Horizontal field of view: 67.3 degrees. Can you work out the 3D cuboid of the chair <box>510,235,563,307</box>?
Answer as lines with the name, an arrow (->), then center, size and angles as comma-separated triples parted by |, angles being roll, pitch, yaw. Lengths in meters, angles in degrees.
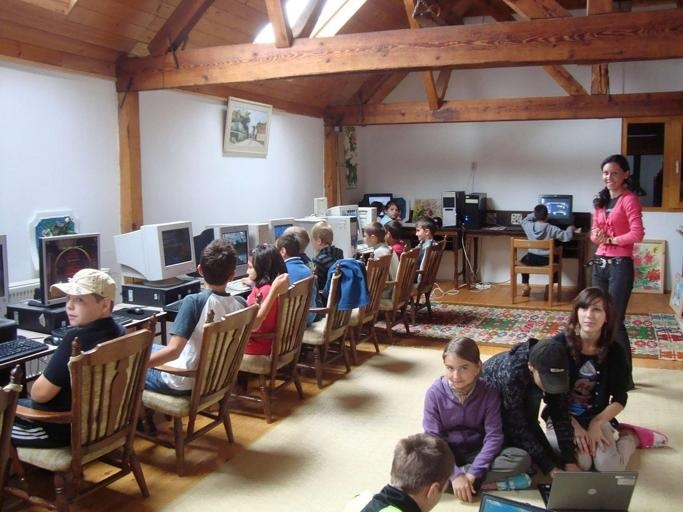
chair -> 2.675, 0.181, 7.055 | 0.685, 0.890, 0.639 | 1, 6, 21

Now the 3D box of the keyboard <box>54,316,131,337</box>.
keyboard -> -1.354, 0.378, 2.734 | 0.131, 0.043, 0.195 | 4, 9, 12

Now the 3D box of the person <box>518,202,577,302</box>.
person -> 2.746, 0.173, 7.108 | 0.654, 0.824, 0.624 | -3, 6, 11

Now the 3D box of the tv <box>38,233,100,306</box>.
tv -> -1.876, 0.081, 3.555 | 0.177, 0.457, 0.538 | 3, 7, 12

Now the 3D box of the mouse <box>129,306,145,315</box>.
mouse -> -1.478, 0.397, 3.718 | 0.094, 0.030, 0.054 | 9, 8, 37

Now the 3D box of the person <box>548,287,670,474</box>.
person -> 1.549, 0.712, 3.003 | 0.764, 1.003, 0.561 | 5, -5, 14

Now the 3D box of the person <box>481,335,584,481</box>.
person -> 1.033, 0.762, 2.834 | 0.376, 0.630, 0.717 | -7, 14, -28

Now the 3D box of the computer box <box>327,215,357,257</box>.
computer box -> -0.018, -0.192, 6.152 | 0.382, 0.511, 0.295 | 0, 6, 17

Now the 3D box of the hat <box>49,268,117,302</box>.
hat -> -1.311, 0.138, 2.612 | 0.276, 0.139, 0.187 | 3, -2, -38

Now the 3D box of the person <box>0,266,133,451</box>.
person -> -1.410, 0.544, 2.670 | 0.561, 0.865, 0.579 | -11, -11, 18

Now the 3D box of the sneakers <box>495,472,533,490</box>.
sneakers -> 0.929, 1.207, 2.787 | 0.135, 0.042, 0.106 | 0, -3, -22

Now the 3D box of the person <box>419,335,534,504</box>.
person -> 0.707, 0.857, 2.747 | 0.596, 0.734, 0.559 | -3, 1, 25

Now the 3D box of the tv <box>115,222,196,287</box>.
tv -> -1.542, -0.054, 4.284 | 0.525, 0.458, 0.530 | 2, 8, 23

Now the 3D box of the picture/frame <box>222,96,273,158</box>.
picture/frame -> -1.170, -1.595, 6.229 | 0.059, 0.633, 0.884 | 12, 11, 19

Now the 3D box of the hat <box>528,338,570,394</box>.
hat -> 1.089, 0.538, 2.625 | 0.199, 0.161, 0.301 | -3, 36, -2

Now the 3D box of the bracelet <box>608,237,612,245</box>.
bracelet -> 2.010, -0.118, 3.850 | 0.039, 0.051, 0.018 | 2, -5, 29

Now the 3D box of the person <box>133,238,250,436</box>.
person -> -0.848, 0.362, 2.985 | 0.613, 0.860, 0.487 | -4, 10, -18

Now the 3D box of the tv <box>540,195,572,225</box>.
tv -> 3.108, -0.665, 7.423 | 0.449, 0.429, 0.244 | 3, 8, 28
